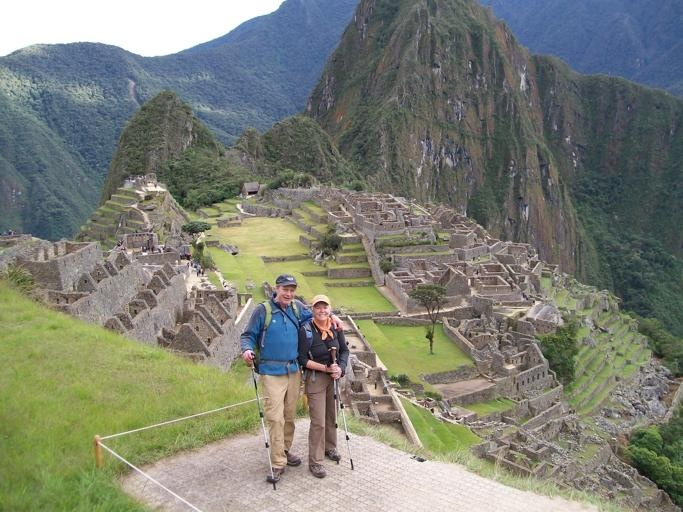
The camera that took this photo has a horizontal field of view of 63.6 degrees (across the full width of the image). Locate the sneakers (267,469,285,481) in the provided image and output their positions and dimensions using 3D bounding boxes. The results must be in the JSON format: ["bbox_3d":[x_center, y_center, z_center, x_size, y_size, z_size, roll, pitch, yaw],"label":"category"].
[{"bbox_3d":[-1.282,4.210,10.650,0.154,0.181,0.415,0,-5,6],"label":"sneakers"}]

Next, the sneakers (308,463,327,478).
[{"bbox_3d":[-0.455,4.239,10.907,0.153,0.162,0.361,-2,-3,-33],"label":"sneakers"}]

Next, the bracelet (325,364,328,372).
[{"bbox_3d":[-0.320,2.304,11.359,0.021,0.086,0.086,6,1,-24],"label":"bracelet"}]
